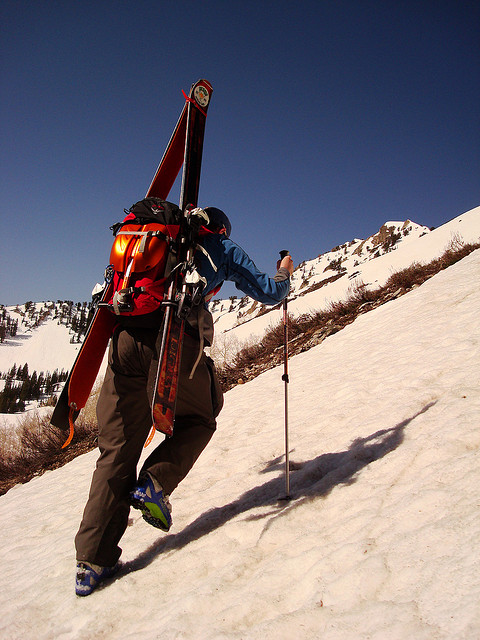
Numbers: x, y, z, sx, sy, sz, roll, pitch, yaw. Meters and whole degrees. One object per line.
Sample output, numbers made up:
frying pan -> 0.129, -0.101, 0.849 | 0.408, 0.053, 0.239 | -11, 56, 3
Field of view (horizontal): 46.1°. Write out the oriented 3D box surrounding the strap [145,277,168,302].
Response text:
strap -> -0.462, -0.173, 3.085 | 0.103, 0.109, 0.036 | -2, -21, -35

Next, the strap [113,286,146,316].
strap -> -0.602, -0.105, 3.046 | 0.116, 0.162, 0.061 | 2, -14, -7

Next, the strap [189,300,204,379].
strap -> -0.224, 0.105, 3.214 | 0.054, 0.536, 0.077 | 6, -4, -17
